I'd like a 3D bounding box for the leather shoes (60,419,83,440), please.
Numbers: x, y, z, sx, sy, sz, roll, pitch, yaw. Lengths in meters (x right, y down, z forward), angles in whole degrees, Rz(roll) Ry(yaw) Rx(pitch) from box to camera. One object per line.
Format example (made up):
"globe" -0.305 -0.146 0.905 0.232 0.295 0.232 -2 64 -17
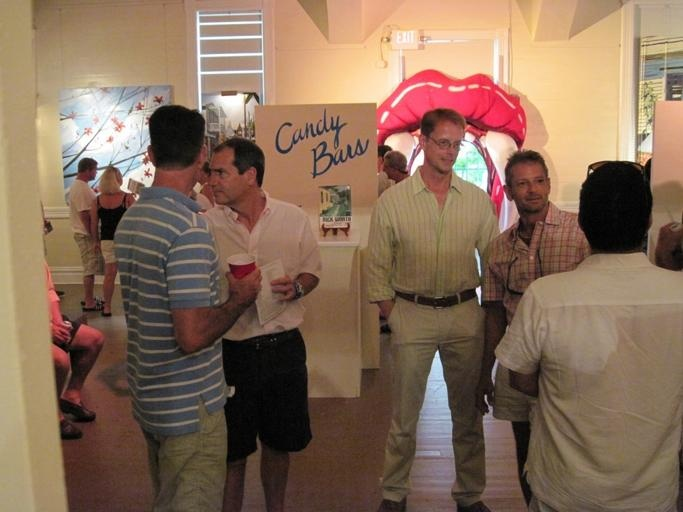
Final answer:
"leather shoes" -1.686 1.080 3.665 0.117 0.099 0.177 -4 9 -25

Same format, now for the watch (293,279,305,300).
"watch" -0.194 0.145 2.617 0.049 0.081 0.069 -3 -17 -15

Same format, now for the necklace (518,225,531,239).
"necklace" 0.806 -0.098 2.576 0.048 0.057 0.054 -1 7 -31

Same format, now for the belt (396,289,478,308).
"belt" 0.447 0.197 2.738 0.378 0.077 0.108 0 8 4

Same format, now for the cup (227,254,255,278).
"cup" -0.361 0.037 2.112 0.084 0.069 0.088 0 21 0

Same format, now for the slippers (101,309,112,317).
"slippers" -2.590 0.646 6.473 0.053 0.043 0.154 0 2 -4
